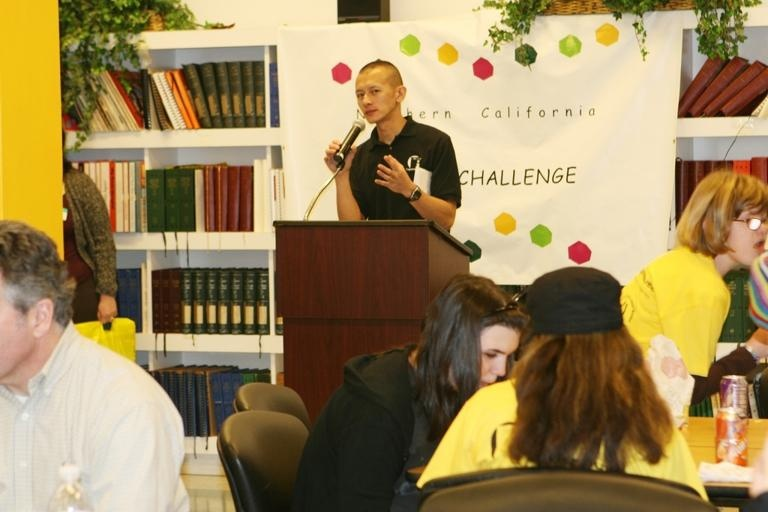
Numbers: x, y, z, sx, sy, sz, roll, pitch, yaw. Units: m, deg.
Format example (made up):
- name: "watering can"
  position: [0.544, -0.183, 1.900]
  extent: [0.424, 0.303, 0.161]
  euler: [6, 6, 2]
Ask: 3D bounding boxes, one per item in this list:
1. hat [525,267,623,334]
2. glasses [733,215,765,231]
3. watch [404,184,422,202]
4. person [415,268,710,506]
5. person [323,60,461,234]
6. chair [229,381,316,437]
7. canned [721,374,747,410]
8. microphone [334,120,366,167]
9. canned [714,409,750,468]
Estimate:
- name: "hat"
  position: [0.669, 0.133, 3.331]
  extent: [0.373, 0.229, 0.368]
  euler: [-12, 2, 13]
- name: "glasses"
  position: [1.600, -0.143, 4.221]
  extent: [0.123, 0.057, 0.029]
  euler: [1, 1, -4]
- name: "watch"
  position: [0.137, -0.279, 4.573]
  extent: [0.074, 0.054, 0.082]
  euler: [-33, 11, 26]
- name: "person"
  position: [0.573, 0.349, 3.216]
  extent: [0.848, 0.756, 0.449]
  euler: [0, 31, -1]
- name: "person"
  position: [0.061, -0.591, 4.855]
  extent: [0.628, 0.885, 0.766]
  euler: [1, 1, 6]
- name: "chair"
  position: [-0.516, 0.645, 4.069]
  extent: [0.181, 0.227, 0.211]
  euler: [7, -1, 39]
- name: "canned"
  position: [1.353, 0.542, 3.736]
  extent: [0.091, 0.164, 0.097]
  euler: [-5, 10, -11]
- name: "microphone"
  position: [-0.170, -0.547, 4.661]
  extent: [0.138, 0.244, 0.270]
  euler: [1, 1, -3]
- name: "canned"
  position: [1.286, 0.674, 3.568]
  extent: [0.109, 0.222, 0.116]
  euler: [-1, 10, 12]
